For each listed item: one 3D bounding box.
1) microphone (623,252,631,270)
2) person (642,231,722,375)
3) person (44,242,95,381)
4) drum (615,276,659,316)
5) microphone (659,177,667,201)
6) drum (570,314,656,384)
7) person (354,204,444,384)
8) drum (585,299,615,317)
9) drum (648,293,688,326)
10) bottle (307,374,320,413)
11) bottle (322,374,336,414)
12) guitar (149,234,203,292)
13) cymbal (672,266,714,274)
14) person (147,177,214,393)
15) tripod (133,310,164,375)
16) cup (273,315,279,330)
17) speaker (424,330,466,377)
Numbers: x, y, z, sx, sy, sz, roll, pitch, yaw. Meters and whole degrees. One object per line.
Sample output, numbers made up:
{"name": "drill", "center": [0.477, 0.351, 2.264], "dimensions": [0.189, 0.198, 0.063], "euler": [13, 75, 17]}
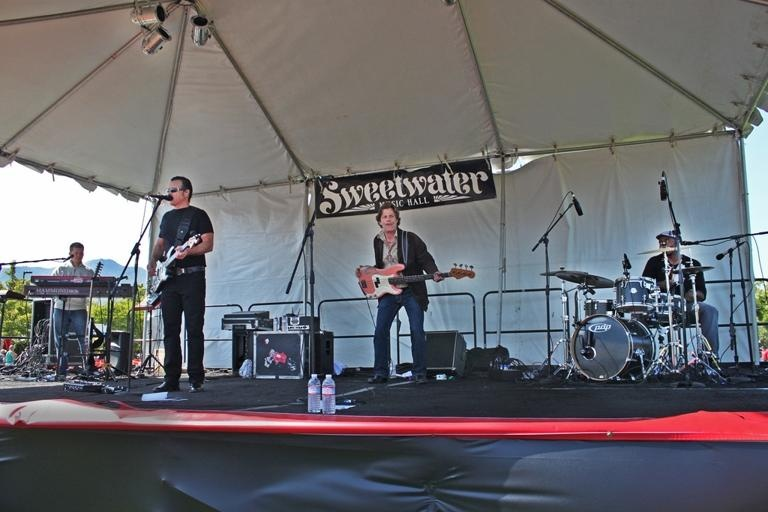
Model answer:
{"name": "microphone", "center": [3.348, 0.071, 8.806], "dimensions": [0.108, 0.078, 0.299], "euler": [4, -32, 31]}
{"name": "person", "center": [3.921, 0.419, 8.266], "dimensions": [0.906, 2.105, 0.811], "euler": [3, 4, 8]}
{"name": "person", "center": [-4.551, 0.736, 9.356], "dimensions": [0.634, 2.101, 0.646], "euler": [0, 6, -20]}
{"name": "drum", "center": [3.084, 0.484, 7.852], "dimensions": [0.460, 0.339, 0.459], "euler": [3, -16, 1]}
{"name": "microphone", "center": [3.272, -0.778, 7.459], "dimensions": [0.066, 0.237, 0.377], "euler": [-4, -11, 22]}
{"name": "drum", "center": [2.711, 1.072, 7.764], "dimensions": [0.984, 0.973, 0.772], "euler": [10, 3, 44]}
{"name": "person", "center": [0.278, 0.460, 8.084], "dimensions": [1.125, 2.304, 0.786], "euler": [-5, -7, 28]}
{"name": "drum", "center": [2.693, 0.643, 8.000], "dimensions": [0.244, 0.224, 0.246], "euler": [2, -2, 17]}
{"name": "drum", "center": [3.477, 0.672, 7.861], "dimensions": [0.494, 0.179, 0.441], "euler": [8, -12, -24]}
{"name": "bottle", "center": [-0.572, 1.135, 5.312], "dimensions": [0.104, 0.304, 0.306], "euler": [1, -11, -7]}
{"name": "bottle", "center": [-0.447, 1.123, 5.225], "dimensions": [0.117, 0.301, 0.310], "euler": [1, -11, -5]}
{"name": "guitar", "center": [-2.246, 0.075, 6.859], "dimensions": [0.642, 0.631, 0.210], "euler": [-5, -11, 23]}
{"name": "cymbal", "center": [3.768, 0.163, 7.734], "dimensions": [0.303, 0.100, 0.300], "euler": [-5, 4, -31]}
{"name": "person", "center": [-2.188, 0.282, 6.882], "dimensions": [0.893, 2.325, 0.633], "euler": [-2, -1, 34]}
{"name": "tripod", "center": [-3.924, 1.482, 10.756], "dimensions": [0.534, 1.338, 0.551], "euler": [0, 5, -7]}
{"name": "cup", "center": [-1.611, 1.026, 9.701], "dimensions": [0.108, 0.211, 0.289], "euler": [2, -11, -11]}
{"name": "speaker", "center": [0.858, 1.372, 9.088], "dimensions": [0.744, 0.594, 0.737], "euler": [4, -18, 5]}
